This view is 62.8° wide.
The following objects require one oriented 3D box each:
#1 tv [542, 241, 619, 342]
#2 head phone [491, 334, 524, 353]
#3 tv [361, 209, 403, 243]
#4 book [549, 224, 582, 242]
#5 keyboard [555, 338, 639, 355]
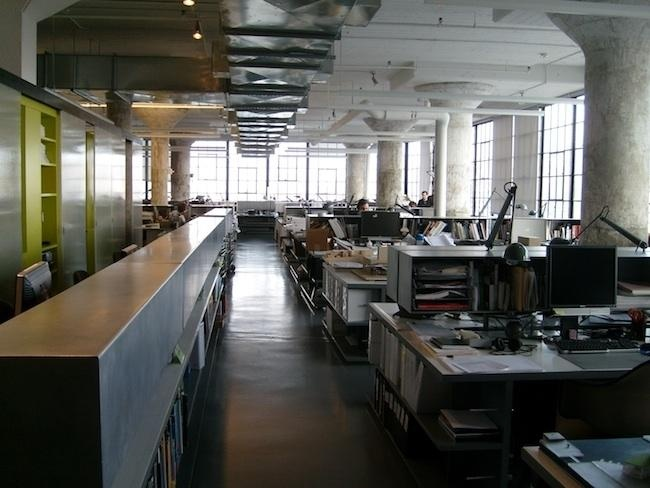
[{"bbox_3d":[1.800,0.347,3.747,0.657,0.665,0.257,1,-2,-3],"label":"tv"},{"bbox_3d":[1.236,0.649,3.592,0.194,0.085,0.337,4,8,23],"label":"head phone"},{"bbox_3d":[0.893,-0.285,8.523,0.739,0.522,0.400,0,0,-3],"label":"tv"},{"bbox_3d":[3.590,-0.164,7.884,0.347,0.337,0.186,2,-2,1],"label":"book"},{"bbox_3d":[1.817,0.677,3.513,0.572,0.050,0.140,0,7,-6],"label":"keyboard"}]
